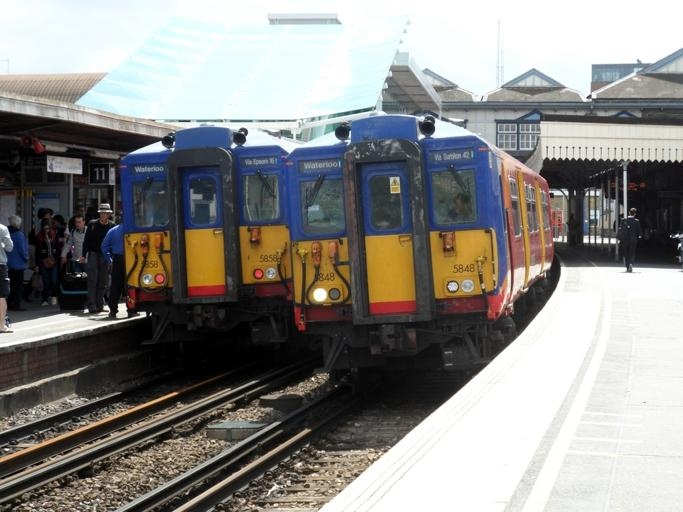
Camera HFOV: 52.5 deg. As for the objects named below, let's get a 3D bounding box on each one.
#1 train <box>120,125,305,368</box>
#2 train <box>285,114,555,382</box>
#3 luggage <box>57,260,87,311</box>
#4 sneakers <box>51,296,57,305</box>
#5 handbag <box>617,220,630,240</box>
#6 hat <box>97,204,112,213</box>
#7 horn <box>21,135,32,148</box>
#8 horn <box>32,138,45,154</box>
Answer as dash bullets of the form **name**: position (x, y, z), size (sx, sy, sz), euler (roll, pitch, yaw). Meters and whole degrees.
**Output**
- **train**: position (-2.670, -0.140, 15.209), size (2.890, 3.990, 6.273), euler (-3, -3, -7)
- **train**: position (1.808, -0.200, 11.151), size (5.010, 3.944, 2.371), euler (-6, 5, -44)
- **luggage**: position (-6.086, 0.706, 15.850), size (0.650, 1.191, 0.734), euler (-3, -8, 45)
- **sneakers**: position (-7.042, 1.107, 16.995), size (0.159, 0.170, 0.281), euler (1, -2, -18)
- **handbag**: position (10.613, -0.943, 26.039), size (0.307, 0.926, 0.618), euler (10, 4, 38)
- **hat**: position (-5.392, -1.086, 15.768), size (0.376, 0.184, 0.512), euler (1, -3, -27)
- **horn**: position (-6.863, -2.501, 15.121), size (0.200, 0.238, 0.287), euler (-4, 4, -25)
- **horn**: position (-6.868, -2.507, 15.741), size (0.215, 0.369, 1.366), euler (-3, 4, -20)
